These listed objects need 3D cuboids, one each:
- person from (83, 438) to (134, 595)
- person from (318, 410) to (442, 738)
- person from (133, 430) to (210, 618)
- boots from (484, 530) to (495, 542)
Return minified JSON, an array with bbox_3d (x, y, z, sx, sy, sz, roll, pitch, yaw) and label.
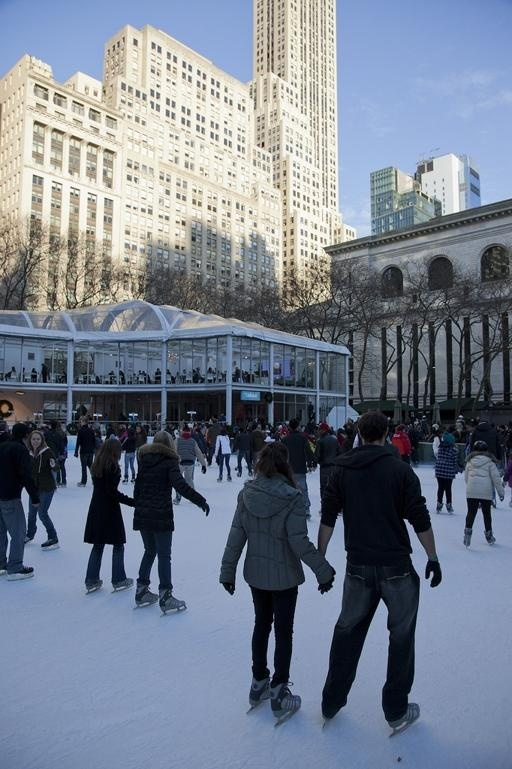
[{"bbox_3d":[-1.437,1.297,6.869,0.462,1.542,0.669,1,-1,-11],"label":"person"},{"bbox_3d":[0.713,1.209,4.171,0.703,1.698,0.352,1,-1,5],"label":"person"},{"bbox_3d":[-0.843,1.254,6.406,0.541,1.633,1.003,2,-2,-30],"label":"person"},{"bbox_3d":[3.203,2.089,9.647,0.130,0.184,0.362,0,-1,20],"label":"boots"}]
